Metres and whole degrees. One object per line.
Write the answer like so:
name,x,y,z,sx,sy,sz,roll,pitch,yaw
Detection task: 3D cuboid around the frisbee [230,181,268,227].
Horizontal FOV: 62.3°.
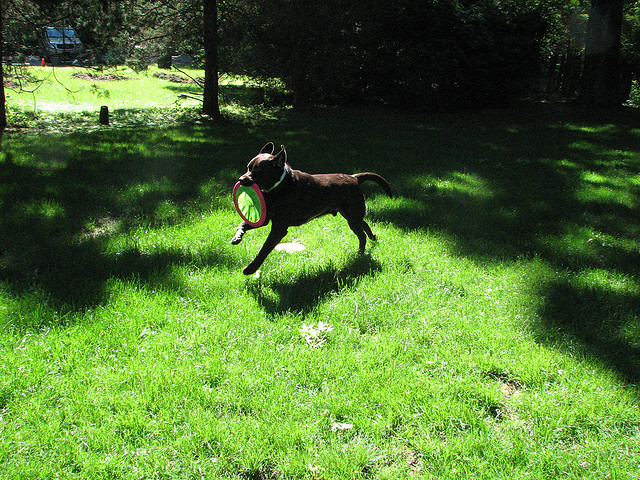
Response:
frisbee,-0.892,-0.444,6.396,0.311,0.663,0.587,-11,25,-36
